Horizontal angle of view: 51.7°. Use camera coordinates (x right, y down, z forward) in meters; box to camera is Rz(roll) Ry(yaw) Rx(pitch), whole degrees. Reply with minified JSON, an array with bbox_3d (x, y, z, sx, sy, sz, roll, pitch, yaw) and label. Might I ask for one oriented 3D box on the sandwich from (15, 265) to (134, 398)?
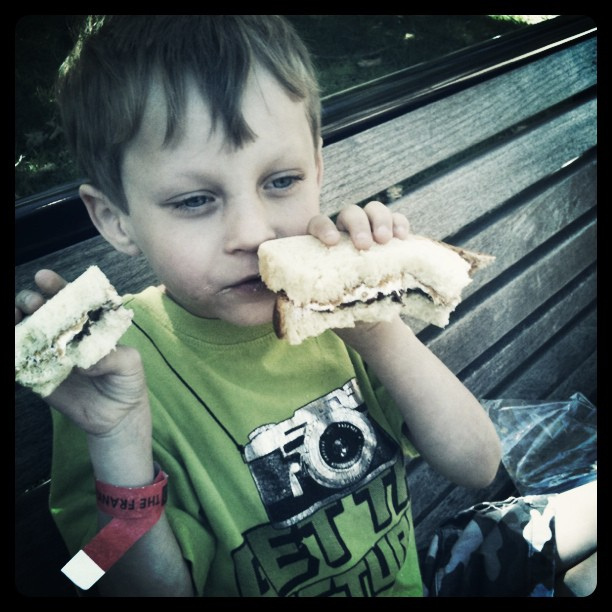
[{"bbox_3d":[-0.402,0.013,1.022,0.212,0.160,0.074,-43,56,-18],"label":"sandwich"}]
